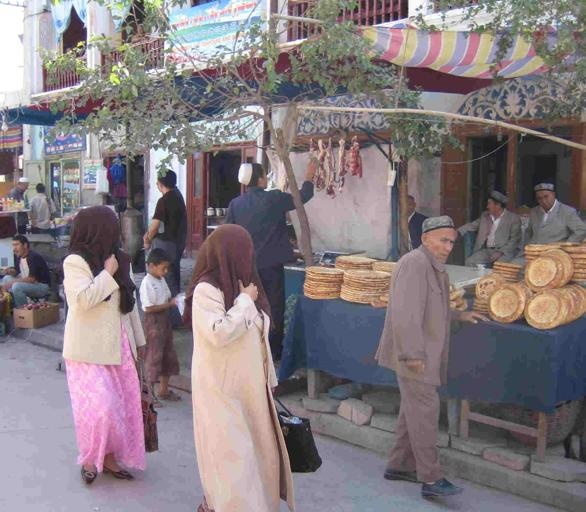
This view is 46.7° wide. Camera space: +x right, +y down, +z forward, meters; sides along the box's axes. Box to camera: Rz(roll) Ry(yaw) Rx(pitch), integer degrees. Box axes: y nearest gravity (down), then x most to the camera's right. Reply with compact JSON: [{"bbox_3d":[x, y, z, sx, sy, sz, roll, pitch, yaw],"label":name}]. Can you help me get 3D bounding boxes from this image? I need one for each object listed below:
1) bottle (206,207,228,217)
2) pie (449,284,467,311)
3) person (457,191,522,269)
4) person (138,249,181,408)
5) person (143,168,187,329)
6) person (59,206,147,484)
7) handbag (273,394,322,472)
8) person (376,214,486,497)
[{"bbox_3d":[-1.685,-0.988,14.974,0.422,0.219,0.304,-4,9,-8],"label":"bottle"},{"bbox_3d":[1.410,0.345,5.697,0.160,0.085,0.214,1,6,33],"label":"pie"},{"bbox_3d":[2.731,-0.271,9.397,0.795,1.300,0.682,3,2,26],"label":"person"},{"bbox_3d":[-1.277,0.690,6.708,0.392,1.533,0.485,5,10,23],"label":"person"},{"bbox_3d":[-1.633,-0.122,8.976,0.604,1.965,0.563,15,17,41],"label":"person"},{"bbox_3d":[-1.399,0.616,5.009,0.536,1.991,0.604,-2,0,18],"label":"person"},{"bbox_3d":[-0.034,1.120,4.405,0.314,0.473,0.153,-3,19,31],"label":"handbag"},{"bbox_3d":[0.908,0.716,4.902,0.551,1.948,0.668,-1,9,9],"label":"person"}]
